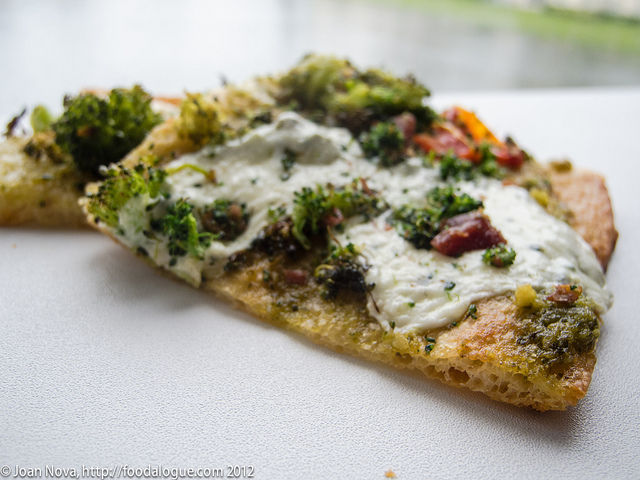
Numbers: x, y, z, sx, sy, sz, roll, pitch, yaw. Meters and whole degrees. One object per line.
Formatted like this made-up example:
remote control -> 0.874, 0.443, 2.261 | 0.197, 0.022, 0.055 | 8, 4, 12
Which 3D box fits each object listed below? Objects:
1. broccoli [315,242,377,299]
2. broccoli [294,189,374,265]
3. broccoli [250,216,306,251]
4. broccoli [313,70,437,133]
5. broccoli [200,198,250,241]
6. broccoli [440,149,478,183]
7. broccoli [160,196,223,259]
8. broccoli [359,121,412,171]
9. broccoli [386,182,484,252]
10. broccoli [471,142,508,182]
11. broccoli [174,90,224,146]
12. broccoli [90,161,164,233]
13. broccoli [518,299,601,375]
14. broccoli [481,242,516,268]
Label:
broccoli -> 0.112, 0.164, 3.311 | 0.337, 0.286, 0.090 | -8, 20, -2
broccoli -> 0.060, -0.085, 3.420 | 0.346, 0.357, 0.091 | -37, 16, -1
broccoli -> -0.203, -0.013, 3.362 | 0.168, 0.055, 0.172 | -30, 30, -17
broccoli -> 0.278, -0.759, 3.731 | 0.461, 0.144, 0.355 | 2, 33, -3
broccoli -> -0.445, -0.103, 3.381 | 0.213, 0.168, 0.122 | 10, 35, -12
broccoli -> 0.711, -0.364, 3.707 | 0.176, 0.064, 0.179 | 34, 32, 13
broccoli -> -0.625, -0.059, 3.354 | 0.275, 0.280, 0.134 | -49, 17, -17
broccoli -> 0.307, -0.475, 3.569 | 0.240, 0.238, 0.097 | -15, 1, -7
broccoli -> 0.515, -0.119, 3.463 | 0.346, 0.111, 0.358 | 27, 60, 30
broccoli -> 0.897, -0.396, 3.807 | 0.199, 0.063, 0.201 | 40, 36, -3
broccoli -> -0.598, -0.585, 3.515 | 0.273, 0.215, 0.101 | -31, -4, -15
broccoli -> -0.879, -0.218, 3.289 | 0.322, 0.128, 0.297 | 1, 63, 13
broccoli -> 1.048, 0.442, 3.148 | 0.254, 0.125, 0.339 | 38, 57, 9
broccoli -> 0.828, 0.074, 3.297 | 0.105, 0.053, 0.108 | -12, 27, -11
